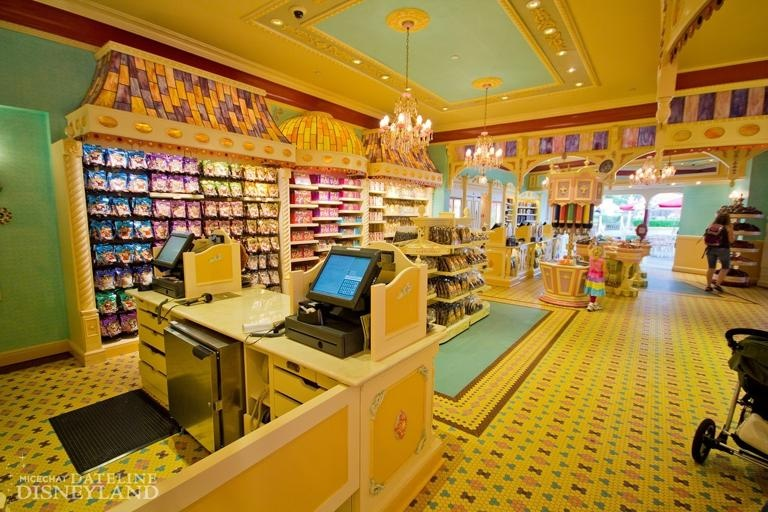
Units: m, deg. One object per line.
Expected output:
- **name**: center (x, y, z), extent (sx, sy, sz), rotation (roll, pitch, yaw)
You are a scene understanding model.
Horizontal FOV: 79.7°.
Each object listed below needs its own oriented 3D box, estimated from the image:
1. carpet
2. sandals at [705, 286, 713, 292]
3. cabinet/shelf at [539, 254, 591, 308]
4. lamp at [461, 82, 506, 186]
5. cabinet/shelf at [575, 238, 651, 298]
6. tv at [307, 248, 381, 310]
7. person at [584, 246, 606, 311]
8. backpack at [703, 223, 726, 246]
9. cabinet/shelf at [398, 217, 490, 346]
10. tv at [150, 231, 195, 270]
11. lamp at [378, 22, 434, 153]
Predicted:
- **carpet**: center (-3.434, 2.190, 5.862), extent (1.259, 0.464, 1.116), rotation (-7, 14, -37)
- **sandals**: center (7.829, 0.792, 11.061), extent (0.105, 0.074, 0.294), rotation (-3, 1, 31)
- **cabinet/shelf**: center (4.010, 0.576, 9.984), extent (0.962, 0.810, 0.899), rotation (0, 6, -37)
- **lamp**: center (2.286, -2.748, 10.254), extent (0.961, 2.095, 0.919), rotation (-9, 15, -22)
- **cabinet/shelf**: center (5.643, 0.163, 11.411), extent (1.882, 1.065, 1.618), rotation (-5, 20, -37)
- **tv**: center (-0.414, 0.250, 5.237), extent (0.743, 0.671, 0.403), rotation (7, -11, 35)
- **person**: center (4.279, 0.421, 9.290), extent (0.332, 1.337, 0.580), rotation (6, 13, 23)
- **backpack**: center (7.788, -0.475, 10.830), extent (0.322, 0.558, 0.473), rotation (0, 12, -6)
- **cabinet/shelf**: center (0.942, 0.397, 7.195), extent (0.943, 1.736, 2.114), rotation (4, 8, 37)
- **tv**: center (-2.911, -0.033, 6.280), extent (0.344, 0.303, 0.253), rotation (19, 33, -25)
- **lamp**: center (0.408, -2.904, 7.911), extent (0.902, 1.987, 0.816), rotation (-3, 22, -7)
